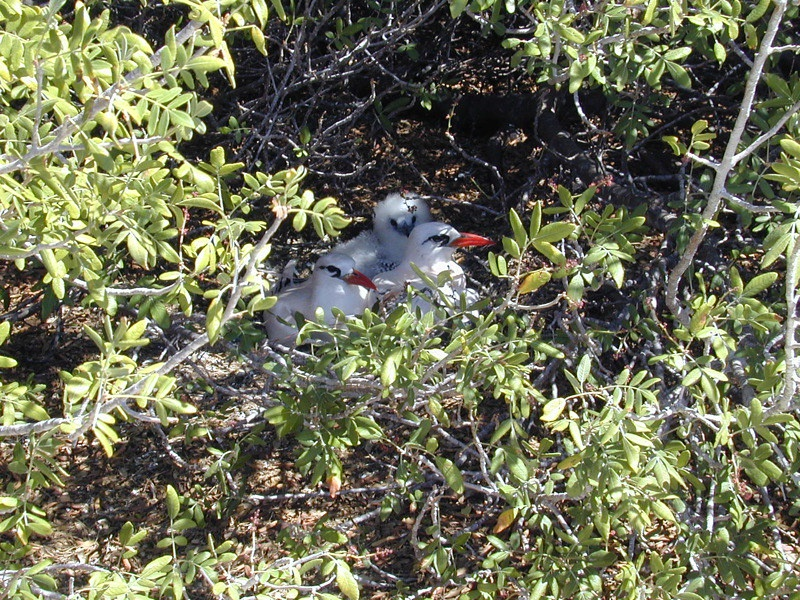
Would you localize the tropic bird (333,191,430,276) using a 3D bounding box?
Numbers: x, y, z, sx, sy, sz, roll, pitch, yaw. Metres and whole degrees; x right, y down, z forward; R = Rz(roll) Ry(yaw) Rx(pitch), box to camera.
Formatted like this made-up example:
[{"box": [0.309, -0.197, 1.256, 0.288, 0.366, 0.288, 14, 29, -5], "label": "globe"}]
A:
[{"box": [-0.067, -0.447, 5.748, 0.727, 0.461, 0.410, -10, 49, -2], "label": "tropic bird"}]
